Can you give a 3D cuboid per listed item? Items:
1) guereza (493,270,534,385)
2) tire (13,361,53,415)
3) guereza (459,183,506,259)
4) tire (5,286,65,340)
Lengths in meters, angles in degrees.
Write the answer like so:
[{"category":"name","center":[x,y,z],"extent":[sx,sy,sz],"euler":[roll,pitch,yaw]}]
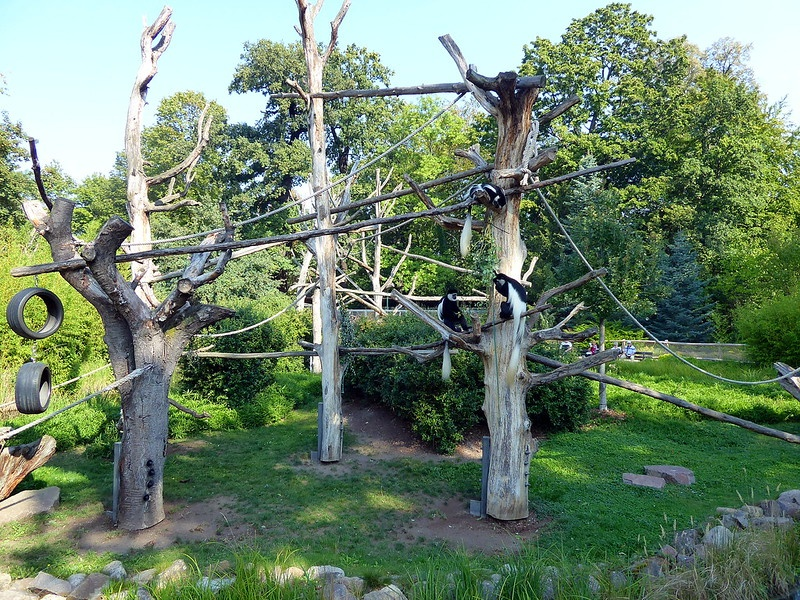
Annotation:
[{"category":"guereza","center":[2.095,0.468,13.533],"extent":[0.624,1.996,0.583],"euler":[1,11,10]},{"category":"tire","center":[-6.448,1.545,12.519],"extent":[0.590,0.925,0.304],"euler":[-9,14,-33]},{"category":"guereza","center":[1.526,-1.362,13.072],"extent":[0.759,1.507,0.531],"euler":[8,-19,6]},{"category":"tire","center":[-6.412,0.187,12.560],"extent":[0.873,1.093,0.866],"euler":[2,4,31]}]
